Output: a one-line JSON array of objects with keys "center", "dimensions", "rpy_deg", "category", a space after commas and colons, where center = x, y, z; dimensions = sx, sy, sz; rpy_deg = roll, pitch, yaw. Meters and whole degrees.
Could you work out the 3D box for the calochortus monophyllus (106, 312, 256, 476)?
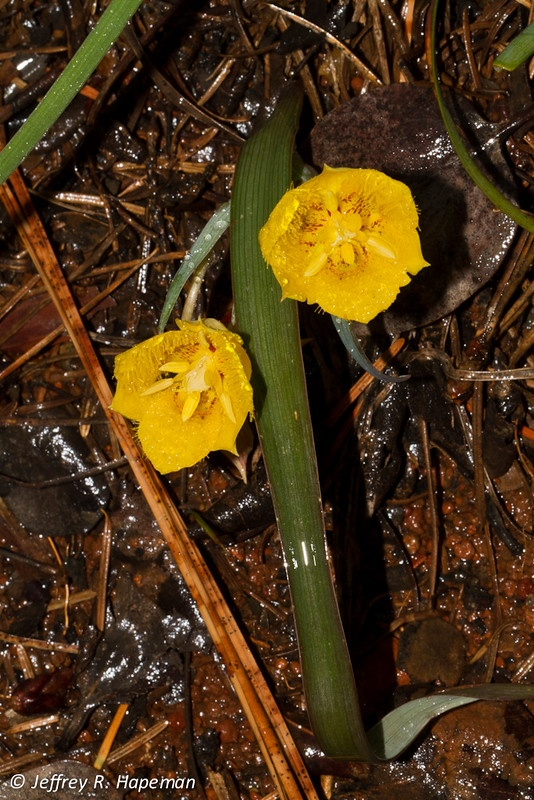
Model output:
[{"center": [-0.139, -0.009, 1.154], "dimensions": [0.227, 0.236, 0.173], "rpy_deg": [-5, 46, -1], "category": "calochortus monophyllus"}]
